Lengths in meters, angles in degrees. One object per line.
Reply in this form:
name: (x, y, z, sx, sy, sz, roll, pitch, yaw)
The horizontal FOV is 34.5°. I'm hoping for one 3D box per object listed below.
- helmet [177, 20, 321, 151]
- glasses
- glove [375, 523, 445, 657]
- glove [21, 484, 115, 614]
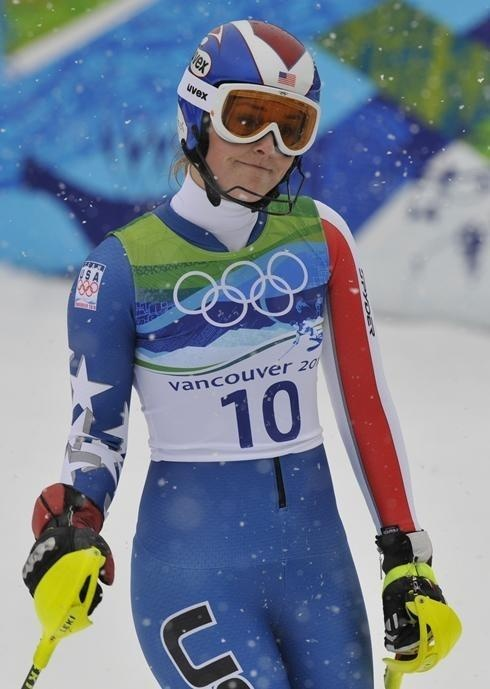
helmet: (0.021, -0.593, 1.906, 0.289, 0.354, 0.271, 5, 93, -24)
glasses: (0.048, -0.507, 1.751, 0.172, 0.194, 0.090, 8, 90, -21)
glove: (0.363, 0.558, 1.839, 0.182, 0.116, 0.269, 6, 85, -33)
glove: (-0.343, 0.414, 1.637, 0.103, 0.192, 0.259, 21, 28, -36)
